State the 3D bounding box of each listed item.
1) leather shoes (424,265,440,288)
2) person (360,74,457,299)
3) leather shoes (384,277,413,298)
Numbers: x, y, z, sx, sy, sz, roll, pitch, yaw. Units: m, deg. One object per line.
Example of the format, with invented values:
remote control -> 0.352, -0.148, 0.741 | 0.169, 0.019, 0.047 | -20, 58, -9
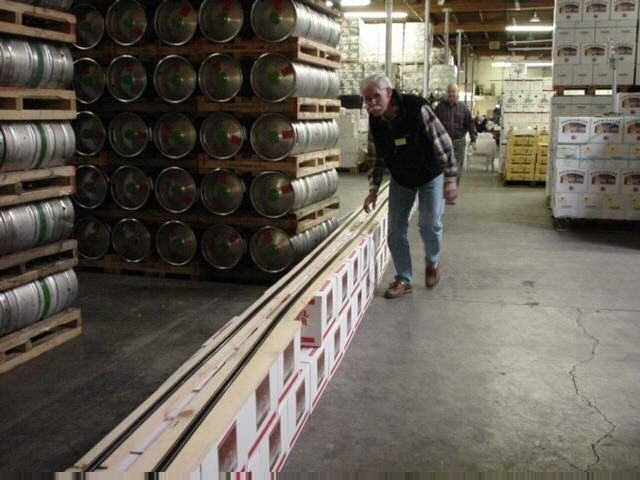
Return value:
leather shoes -> 1.168, 0.368, 5.082 | 0.105, 0.301, 0.127 | 2, 6, 29
person -> 0.774, -0.432, 4.604 | 0.992, 2.111, 1.032 | -3, 12, -9
leather shoes -> 0.798, 0.496, 4.922 | 0.124, 0.156, 0.374 | -2, 0, 31
